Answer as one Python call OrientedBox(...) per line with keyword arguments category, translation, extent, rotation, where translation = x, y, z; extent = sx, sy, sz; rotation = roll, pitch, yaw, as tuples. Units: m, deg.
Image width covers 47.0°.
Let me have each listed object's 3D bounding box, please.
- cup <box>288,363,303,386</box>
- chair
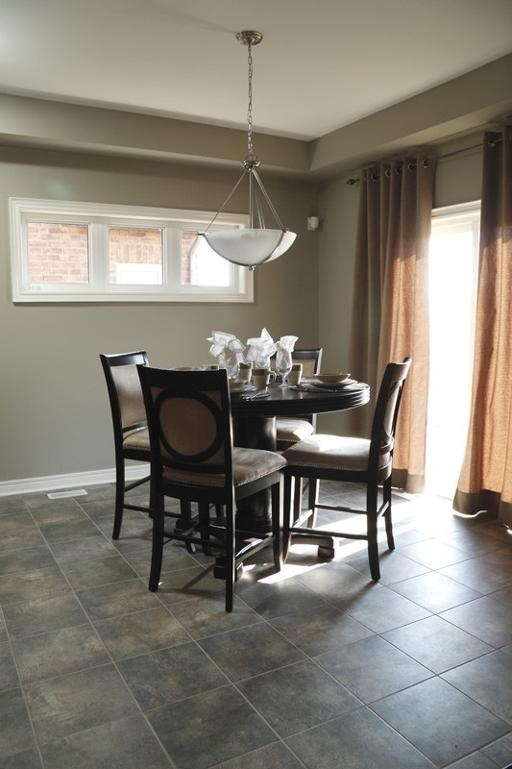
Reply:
OrientedBox(category="cup", translation=(0.202, -0.046, 2.874), extent=(0.091, 0.105, 0.090), rotation=(0, 7, 0))
OrientedBox(category="chair", translation=(0.089, 0.355, 2.549), extent=(1.194, 0.916, 0.691), rotation=(-3, 5, -23))
